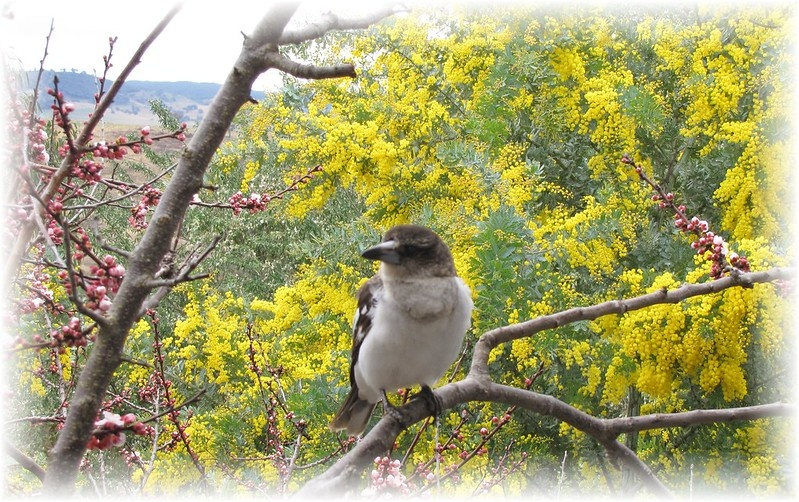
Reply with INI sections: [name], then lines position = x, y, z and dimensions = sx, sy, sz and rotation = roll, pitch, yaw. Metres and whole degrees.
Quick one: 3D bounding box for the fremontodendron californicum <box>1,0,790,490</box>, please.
[fremontodendron californicum]
position = 0.128, 0.138, 4.840
dimensions = 5.041, 2.292, 2.501
rotation = 12, -52, -17
